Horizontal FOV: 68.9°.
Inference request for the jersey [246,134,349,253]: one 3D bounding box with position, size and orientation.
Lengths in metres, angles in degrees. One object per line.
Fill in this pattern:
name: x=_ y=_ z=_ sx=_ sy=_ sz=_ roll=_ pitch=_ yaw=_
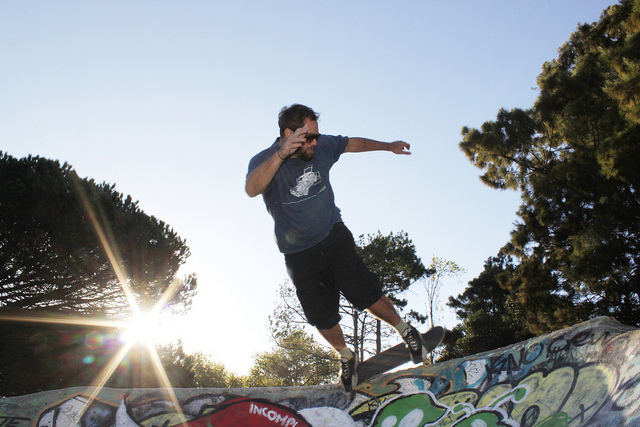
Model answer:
jersey: x=-0.298 y=-0.448 z=9.802 sx=1.735 sy=2.128 sz=0.918 roll=-13 pitch=-27 yaw=3
